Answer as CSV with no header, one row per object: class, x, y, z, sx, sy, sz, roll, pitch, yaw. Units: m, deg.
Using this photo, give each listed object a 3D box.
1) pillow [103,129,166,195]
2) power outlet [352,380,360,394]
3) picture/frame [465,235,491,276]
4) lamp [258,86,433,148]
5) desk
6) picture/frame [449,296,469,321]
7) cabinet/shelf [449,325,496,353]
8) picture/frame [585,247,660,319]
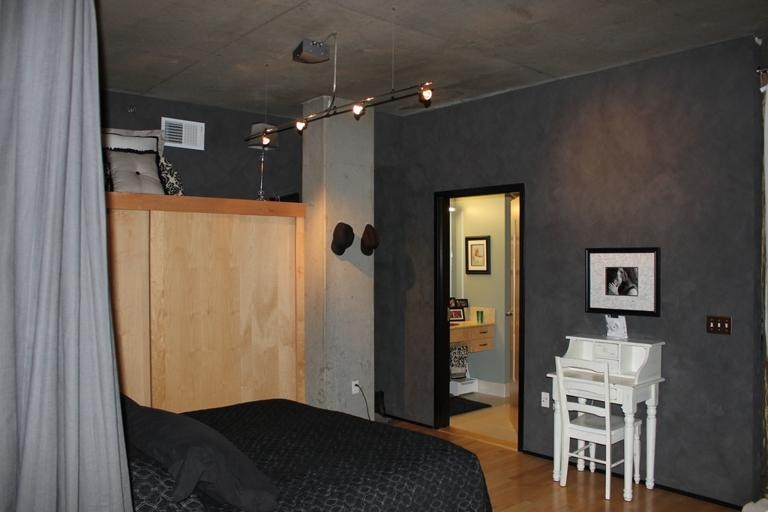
pillow,-2.084,-0.802,5.537,0.493,0.533,0.652,2,6,-24
power outlet,-0.259,1.236,6.215,0.028,0.126,0.080,10,8,43
picture/frame,1.204,-0.008,8.258,0.070,0.664,0.496,4,-2,-41
lamp,-0.473,-1.302,5.858,1.792,0.331,0.223,-10,0,25
desk,1.780,1.251,5.272,0.852,1.225,0.623,7,7,24
picture/frame,0.943,0.665,8.174,0.219,0.247,0.478,6,5,10
cabinet/shelf,1.057,0.984,7.850,0.737,0.337,0.129,0,7,-38
picture/frame,1.992,0.221,5.402,0.591,0.601,0.044,-1,-1,42
